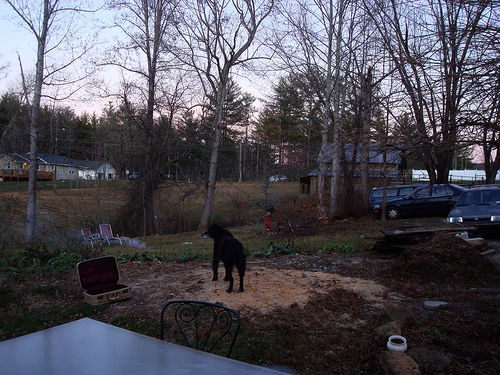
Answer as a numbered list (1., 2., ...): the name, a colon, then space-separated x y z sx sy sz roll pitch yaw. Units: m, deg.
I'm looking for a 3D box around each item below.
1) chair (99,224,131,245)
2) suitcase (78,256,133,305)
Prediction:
1. chair: -7.119 2.355 22.306 1.331 0.946 0.885 -3 -4 35
2. suitcase: -2.875 1.907 8.823 0.926 0.960 0.801 -3 -7 -37
